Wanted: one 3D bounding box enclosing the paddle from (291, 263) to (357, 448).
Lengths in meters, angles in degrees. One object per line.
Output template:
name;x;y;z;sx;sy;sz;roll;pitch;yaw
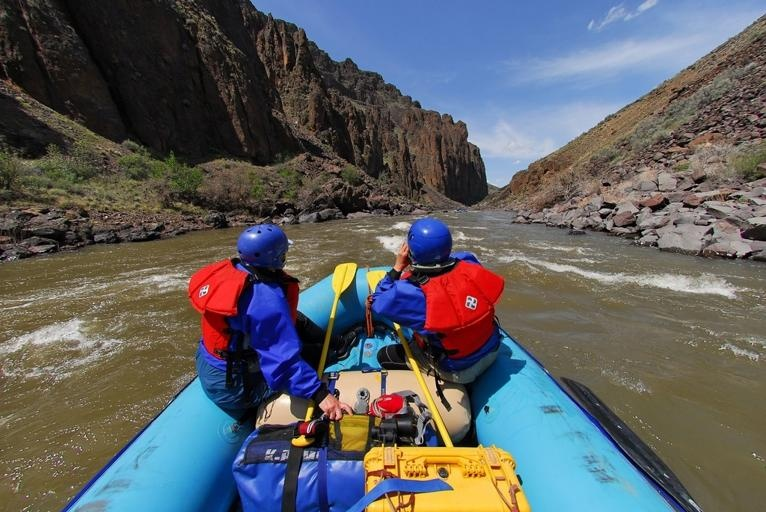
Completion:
paddle;-0.709;1.024;4.804;0.328;0.149;2.376;12;43;4

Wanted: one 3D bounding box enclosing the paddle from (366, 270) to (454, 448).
paddle;0.331;1.164;4.359;0.345;0.156;2.814;24;28;-30

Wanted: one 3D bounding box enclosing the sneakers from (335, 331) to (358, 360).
sneakers;-0.488;1.179;5.293;0.160;0.182;0.466;1;28;29

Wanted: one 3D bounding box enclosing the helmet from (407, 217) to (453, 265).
helmet;0.454;-0.195;4.582;0.462;0.515;0.558;-3;17;-11
